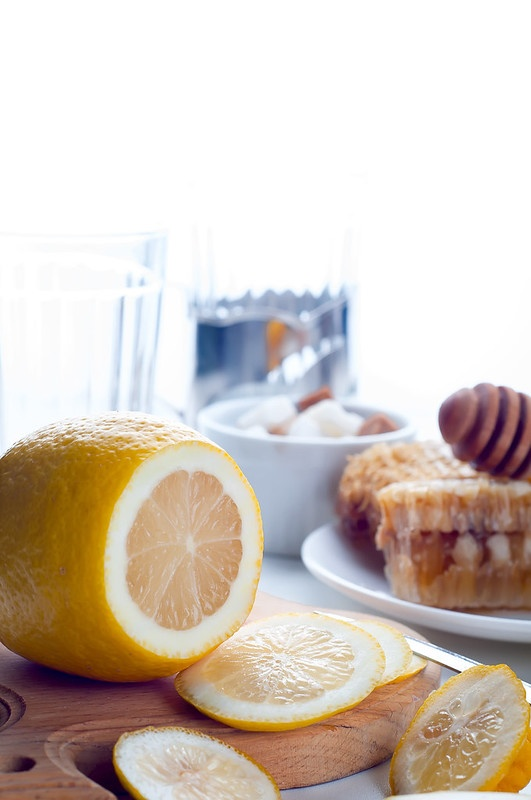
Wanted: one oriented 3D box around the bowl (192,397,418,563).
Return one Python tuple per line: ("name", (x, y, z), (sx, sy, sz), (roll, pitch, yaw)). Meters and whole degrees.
("bowl", (0.020, 0.054, 0.702), (0.152, 0.090, 0.149), (1, 4, 0))
